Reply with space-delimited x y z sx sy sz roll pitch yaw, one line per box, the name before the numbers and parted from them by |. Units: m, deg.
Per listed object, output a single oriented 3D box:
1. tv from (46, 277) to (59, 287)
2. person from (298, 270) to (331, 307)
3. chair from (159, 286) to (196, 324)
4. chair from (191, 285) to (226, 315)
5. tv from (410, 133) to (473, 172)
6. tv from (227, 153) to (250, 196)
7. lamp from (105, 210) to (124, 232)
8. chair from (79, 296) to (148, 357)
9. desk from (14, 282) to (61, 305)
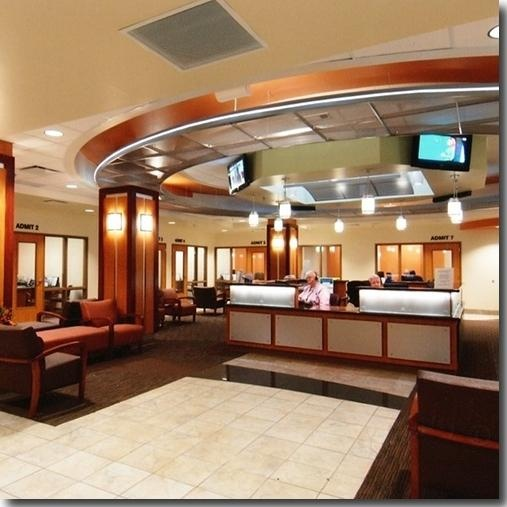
tv | -5.871 0.804 12.014 0.258 0.288 0.459 -2 -3 26
person | 1.163 0.682 7.811 0.516 0.678 0.897 1 -1 -29
chair | -2.124 1.403 11.534 0.942 0.751 0.957 1 0 -41
chair | -1.315 1.447 13.018 0.913 0.998 0.992 1 0 30
tv | 2.636 -1.437 5.771 0.698 0.437 0.090 6 0 11
tv | -0.295 -1.584 8.040 0.099 0.590 0.907 -1 -3 -25
lamp | -2.949 -0.708 8.762 0.524 0.462 0.281 1 -2 7
chair | -2.550 1.273 7.377 0.936 0.844 0.796 0 0 34
desk | -6.181 1.091 11.340 0.532 0.420 0.955 -3 -3 34
